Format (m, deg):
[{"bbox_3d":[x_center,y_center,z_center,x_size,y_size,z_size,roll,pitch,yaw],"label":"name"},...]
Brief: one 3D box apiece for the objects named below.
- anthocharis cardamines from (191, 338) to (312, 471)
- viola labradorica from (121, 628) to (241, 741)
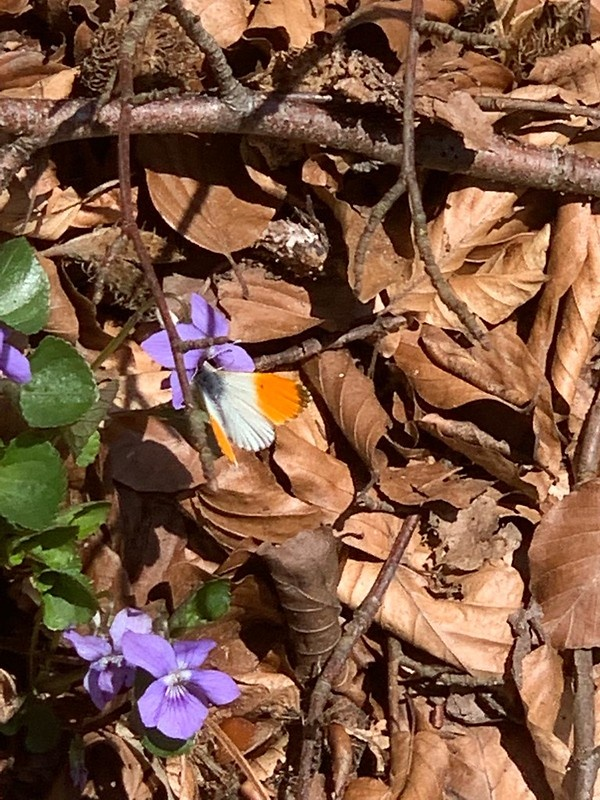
[{"bbox_3d":[-0.115,-0.003,1.959,0.243,0.215,0.145,-27,38,14],"label":"anthocharis cardamines"},{"bbox_3d":[-0.258,0.517,1.747,0.267,0.071,0.232,22,8,31],"label":"viola labradorica"}]
